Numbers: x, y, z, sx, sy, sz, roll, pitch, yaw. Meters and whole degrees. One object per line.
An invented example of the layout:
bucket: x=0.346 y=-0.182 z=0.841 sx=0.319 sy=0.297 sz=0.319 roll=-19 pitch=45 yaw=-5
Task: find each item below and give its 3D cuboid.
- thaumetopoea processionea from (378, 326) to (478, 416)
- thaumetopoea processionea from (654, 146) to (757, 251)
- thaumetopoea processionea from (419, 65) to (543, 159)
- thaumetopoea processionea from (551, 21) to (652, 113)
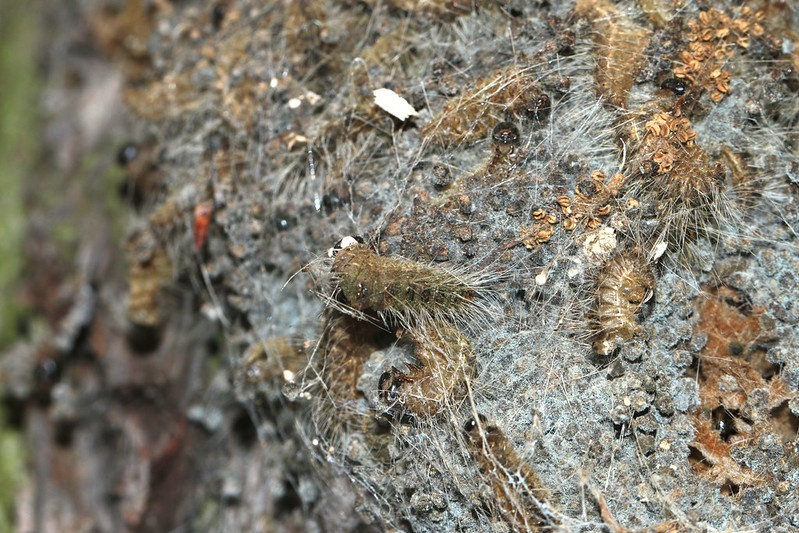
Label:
thaumetopoea processionea: x=0.108 y=0.441 z=4.235 sx=0.430 sy=0.142 sz=0.312 roll=-24 pitch=67 yaw=-2
thaumetopoea processionea: x=1.239 y=-0.331 z=4.375 sx=0.392 sy=0.226 sz=0.427 roll=28 pitch=96 yaw=-20
thaumetopoea processionea: x=0.339 y=-0.657 z=4.356 sx=0.522 sy=0.095 sz=0.199 roll=-24 pitch=67 yaw=-1
thaumetopoea processionea: x=0.875 y=-0.859 z=4.341 sx=0.332 sy=0.110 sz=0.342 roll=10 pitch=70 yaw=12
